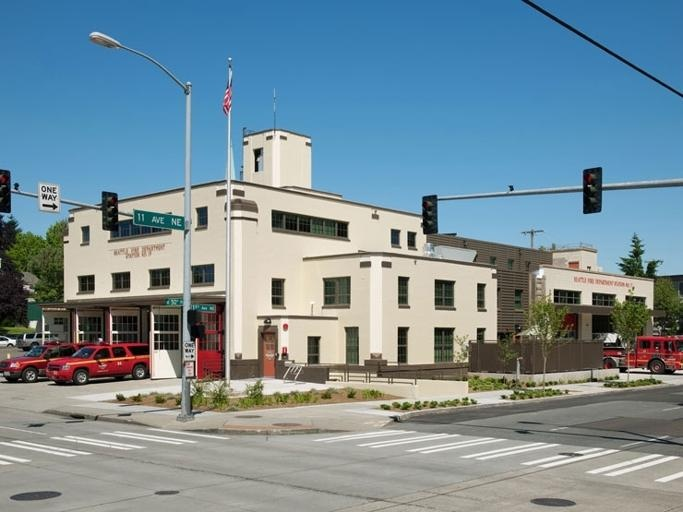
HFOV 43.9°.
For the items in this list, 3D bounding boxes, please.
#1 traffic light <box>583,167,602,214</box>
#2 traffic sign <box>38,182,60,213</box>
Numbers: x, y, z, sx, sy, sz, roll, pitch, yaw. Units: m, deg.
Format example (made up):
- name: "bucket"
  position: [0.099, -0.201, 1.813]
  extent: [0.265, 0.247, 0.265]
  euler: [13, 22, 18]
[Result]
- name: "traffic light"
  position: [8.477, -2.180, 28.609]
  extent: [0.652, 1.561, 0.655]
  euler: [-3, -10, 16]
- name: "traffic sign"
  position: [-11.672, -2.273, 33.891]
  extent: [0.830, 1.131, 0.380]
  euler: [7, -12, -37]
